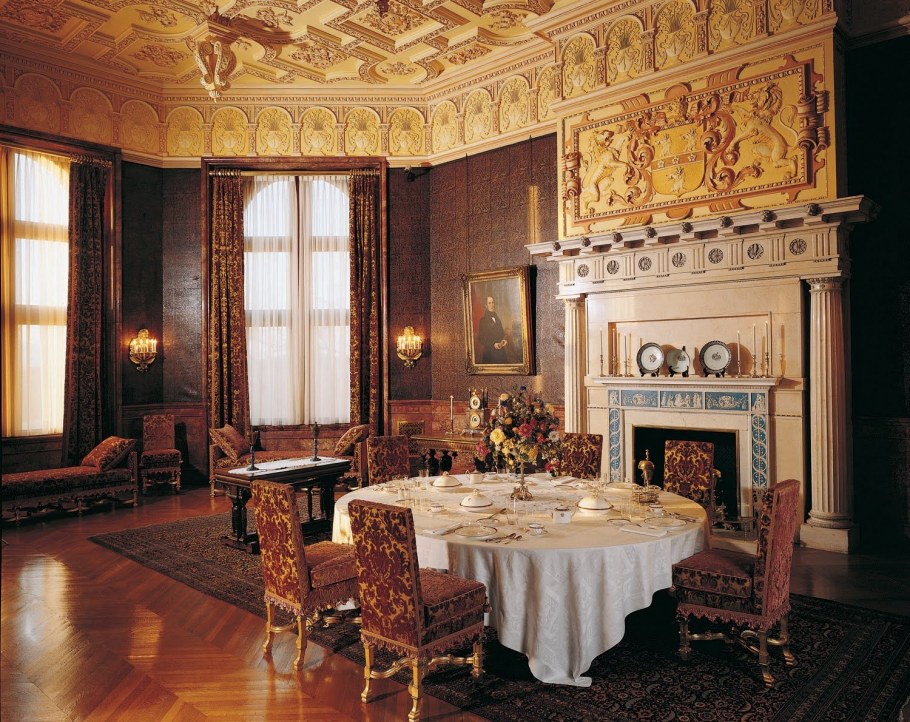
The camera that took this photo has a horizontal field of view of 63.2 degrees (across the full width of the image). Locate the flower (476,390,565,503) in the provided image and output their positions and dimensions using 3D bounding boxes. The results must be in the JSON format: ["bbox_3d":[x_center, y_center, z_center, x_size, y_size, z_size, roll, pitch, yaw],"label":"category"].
[{"bbox_3d":[0.661,0.632,6.526,0.918,1.240,1.003,-1,-2,17],"label":"flower"}]

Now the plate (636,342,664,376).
[{"bbox_3d":[2.235,-0.033,8.424,0.309,0.355,0.197,1,6,16],"label":"plate"}]

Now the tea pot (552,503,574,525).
[{"bbox_3d":[0.806,1.125,5.475,0.140,0.125,0.102,-3,5,-7],"label":"tea pot"}]

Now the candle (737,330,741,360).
[{"bbox_3d":[3.042,-0.163,7.922,0.018,0.304,0.059,-5,7,-32],"label":"candle"}]

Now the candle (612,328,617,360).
[{"bbox_3d":[1.901,-0.202,8.792,0.093,0.357,0.055,0,6,12],"label":"candle"}]

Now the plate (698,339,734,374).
[{"bbox_3d":[2.833,-0.042,8.049,0.103,0.362,0.342,-5,7,-31],"label":"plate"}]

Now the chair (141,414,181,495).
[{"bbox_3d":[-4.259,1.328,10.671,0.682,1.046,0.678,0,2,-10],"label":"chair"}]

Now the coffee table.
[{"bbox_3d":[-1.940,1.609,8.353,1.357,0.807,0.733,-4,1,-35],"label":"coffee table"}]

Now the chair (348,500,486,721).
[{"bbox_3d":[-0.266,1.574,5.045,0.813,1.369,0.650,-6,8,-42],"label":"chair"}]

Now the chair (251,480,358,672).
[{"bbox_3d":[-1.122,1.578,5.742,0.754,1.299,0.717,-1,-1,-36],"label":"chair"}]

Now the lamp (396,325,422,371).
[{"bbox_3d":[-0.678,-0.203,11.176,0.419,0.644,0.147,-2,6,-4],"label":"lamp"}]

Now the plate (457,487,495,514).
[{"bbox_3d":[0.145,1.094,5.812,0.173,0.114,0.176,-3,-3,45],"label":"plate"}]

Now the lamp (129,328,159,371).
[{"bbox_3d":[-4.595,-0.174,10.942,0.481,0.606,0.178,-6,8,-42],"label":"lamp"}]

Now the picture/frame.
[{"bbox_3d":[0.612,-0.567,10.251,0.260,1.443,1.213,-7,8,-43],"label":"picture/frame"}]

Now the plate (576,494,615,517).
[{"bbox_3d":[1.076,1.117,5.682,0.161,0.097,0.170,-2,4,-22],"label":"plate"}]

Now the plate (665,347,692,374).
[{"bbox_3d":[2.517,-0.010,8.320,0.227,0.284,0.066,22,15,41],"label":"plate"}]
